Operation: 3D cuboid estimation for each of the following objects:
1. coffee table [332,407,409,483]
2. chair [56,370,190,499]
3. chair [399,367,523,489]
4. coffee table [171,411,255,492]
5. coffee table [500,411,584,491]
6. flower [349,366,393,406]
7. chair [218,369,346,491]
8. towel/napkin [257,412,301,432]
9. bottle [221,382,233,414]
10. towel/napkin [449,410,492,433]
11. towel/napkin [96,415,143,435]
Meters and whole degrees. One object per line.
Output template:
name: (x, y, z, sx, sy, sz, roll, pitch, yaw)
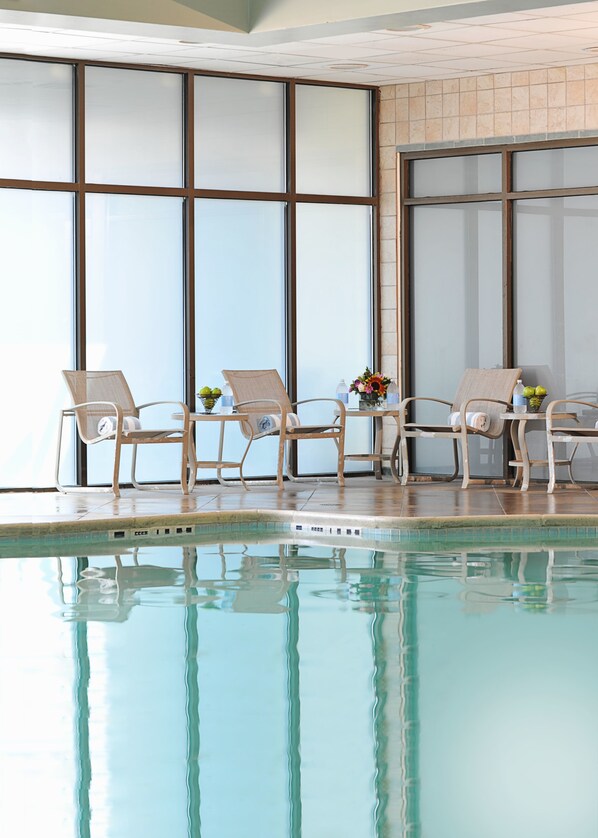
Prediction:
coffee table: (0.695, 0.198, 7.698, 0.520, 0.656, 0.565, 3, -1, 11)
chair: (-1.445, 0.089, 6.584, 0.969, 1.110, 1.016, -3, -2, -21)
chair: (1.458, 0.046, 7.203, 0.978, 1.149, 1.060, 2, -1, -7)
coffee table: (-0.764, 0.254, 7.045, 0.609, 0.731, 0.608, 4, -2, -38)
coffee table: (2.149, 0.273, 7.007, 0.601, 0.726, 0.628, 0, -2, 15)
flower: (0.667, -0.316, 7.469, 0.333, 0.367, 0.340, 4, 7, 35)
chair: (-0.149, 0.070, 6.967, 0.874, 1.183, 0.812, -10, -6, 41)
towel/napkin: (-0.186, 0.029, 6.831, 0.359, 0.163, 0.401, 0, 2, -2)
bottle: (-0.637, -0.198, 7.099, 0.108, 0.265, 0.399, 0, 2, -5)
towel/napkin: (1.498, 0.021, 7.024, 0.348, 0.163, 0.429, 0, 2, 11)
towel/napkin: (-1.401, 0.059, 6.239, 0.321, 0.149, 0.550, -1, 2, -15)
